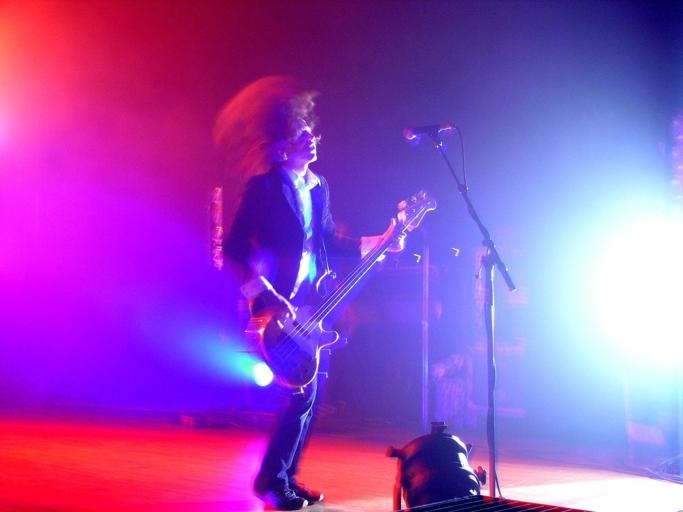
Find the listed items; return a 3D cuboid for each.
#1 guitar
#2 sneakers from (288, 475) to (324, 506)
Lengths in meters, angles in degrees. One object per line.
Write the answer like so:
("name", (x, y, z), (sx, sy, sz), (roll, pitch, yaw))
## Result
("guitar", (-0.134, 0.336, 5.602), (1.337, 1.516, 0.556), (3, -36, 0))
("sneakers", (-0.307, 1.992, 5.617), (0.379, 0.173, 0.130), (26, 0, -9))
